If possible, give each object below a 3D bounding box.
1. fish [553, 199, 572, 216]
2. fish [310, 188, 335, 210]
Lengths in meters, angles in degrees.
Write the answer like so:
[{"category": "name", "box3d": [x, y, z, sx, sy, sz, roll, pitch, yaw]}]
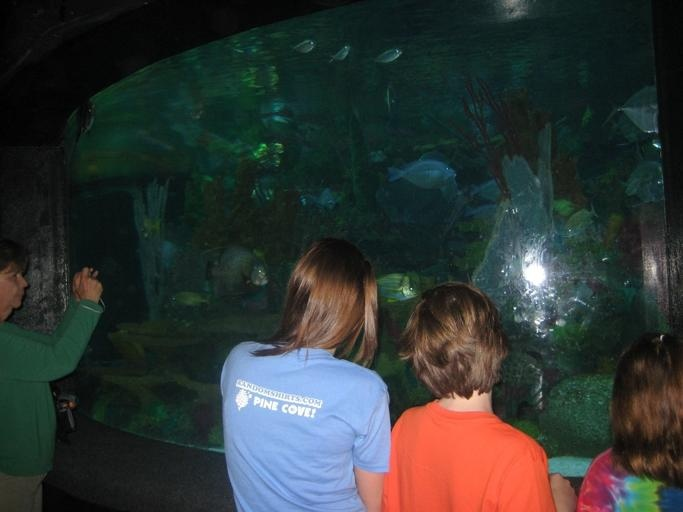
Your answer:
[{"category": "fish", "box3d": [4.746, -1.027, 13.140, 0.546, 0.288, 0.294, 7, -9, -13]}, {"category": "fish", "box3d": [-0.560, -1.737, 18.757, 0.232, 0.658, 0.688, -19, -31, 8]}]
